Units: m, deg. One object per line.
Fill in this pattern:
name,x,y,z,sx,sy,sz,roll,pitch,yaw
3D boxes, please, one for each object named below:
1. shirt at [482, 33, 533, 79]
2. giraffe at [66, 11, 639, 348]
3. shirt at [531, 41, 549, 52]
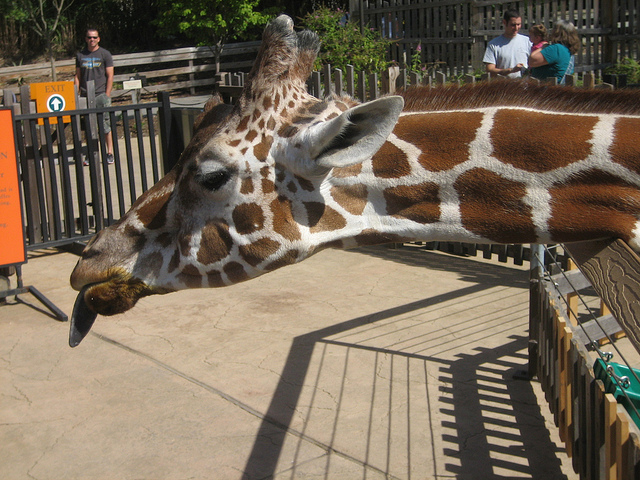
shirt,3.085,-2.968,9.136,0.941,0.670,0.410,-9,34,-10
giraffe,-0.324,-0.364,2.710,3.155,1.218,0.853,-6,31,17
shirt,3.611,-3.187,9.172,0.258,0.102,0.298,-19,4,9
